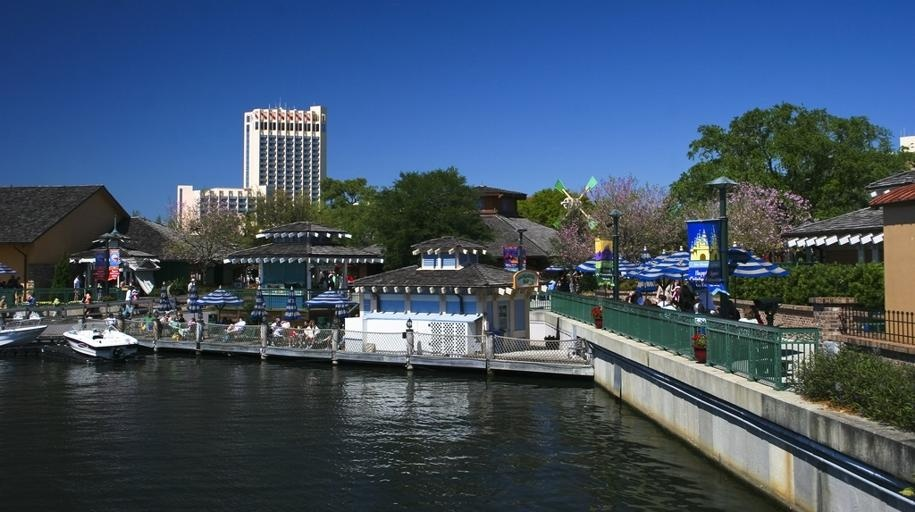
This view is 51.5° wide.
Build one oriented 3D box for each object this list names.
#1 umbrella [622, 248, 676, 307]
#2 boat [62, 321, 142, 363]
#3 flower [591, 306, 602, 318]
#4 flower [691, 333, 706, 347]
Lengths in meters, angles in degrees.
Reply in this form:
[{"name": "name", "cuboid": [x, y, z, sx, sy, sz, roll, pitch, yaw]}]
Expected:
[{"name": "umbrella", "cuboid": [12.436, 1.100, 58.625, 3.953, 5.064, 2.408, 2, 0, 26]}, {"name": "boat", "cuboid": [-26.562, 6.095, 70.124, 3.544, 1.911, 6.839, -4, 8, -41]}, {"name": "flower", "cuboid": [8.645, 3.480, 58.502, 0.701, 0.634, 0.670, -2, -4, 12]}, {"name": "flower", "cuboid": [12.003, 4.153, 46.825, 0.649, 0.450, 0.623, -1, -1, 13]}]
